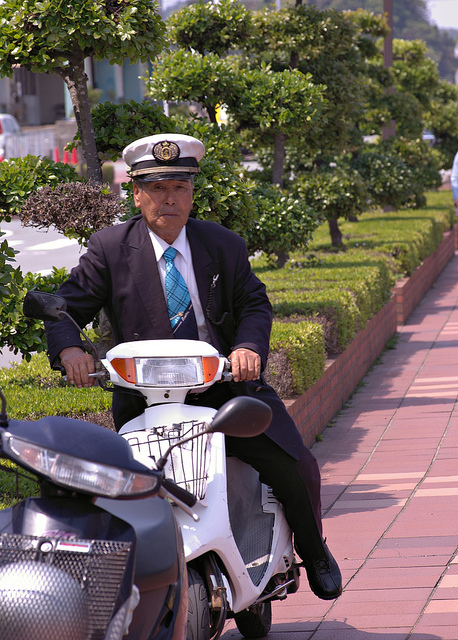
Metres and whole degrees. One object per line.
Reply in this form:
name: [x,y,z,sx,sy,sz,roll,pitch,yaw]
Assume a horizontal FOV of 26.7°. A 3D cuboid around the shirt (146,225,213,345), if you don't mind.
shirt: [-0.169,-0.144,3.305,0.158,0.457,0.070,-15,-21,-5]
